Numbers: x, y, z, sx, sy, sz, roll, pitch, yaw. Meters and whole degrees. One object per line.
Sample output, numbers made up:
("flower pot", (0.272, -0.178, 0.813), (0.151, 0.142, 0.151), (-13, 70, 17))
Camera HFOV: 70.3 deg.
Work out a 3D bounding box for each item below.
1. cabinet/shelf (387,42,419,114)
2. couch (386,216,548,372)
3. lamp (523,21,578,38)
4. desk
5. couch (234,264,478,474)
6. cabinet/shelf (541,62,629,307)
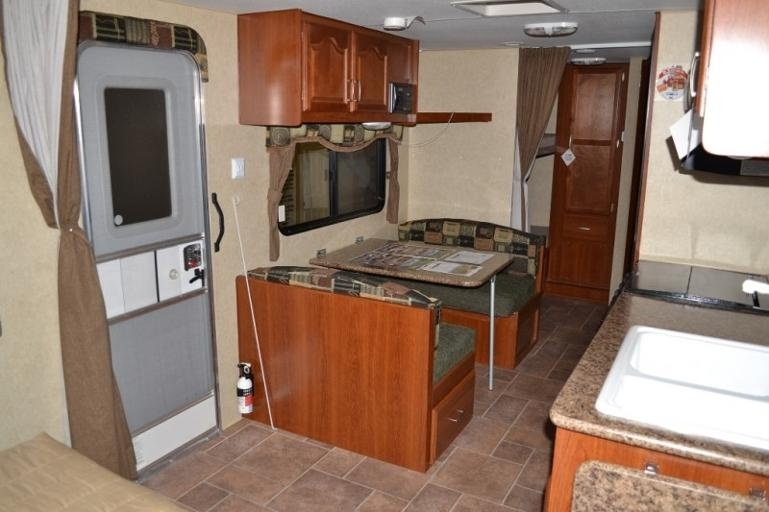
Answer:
("cabinet/shelf", (0.138, -1.448, 4.450), (0.102, 0.608, 0.383), (10, 21, 28))
("couch", (0.651, 0.261, 5.410), (1.624, 1.197, 0.936), (8, 14, 29))
("lamp", (1.235, -1.693, 4.067), (0.385, 0.066, 0.198), (3, 18, 9))
("desk", (0.341, 0.371, 4.755), (1.330, 0.750, 1.079), (7, 15, 28))
("couch", (-0.168, 0.733, 4.241), (1.628, 1.119, 1.096), (7, 12, 25))
("cabinet/shelf", (2.310, -0.806, 6.285), (0.752, 2.674, 0.499), (4, 19, 13))
